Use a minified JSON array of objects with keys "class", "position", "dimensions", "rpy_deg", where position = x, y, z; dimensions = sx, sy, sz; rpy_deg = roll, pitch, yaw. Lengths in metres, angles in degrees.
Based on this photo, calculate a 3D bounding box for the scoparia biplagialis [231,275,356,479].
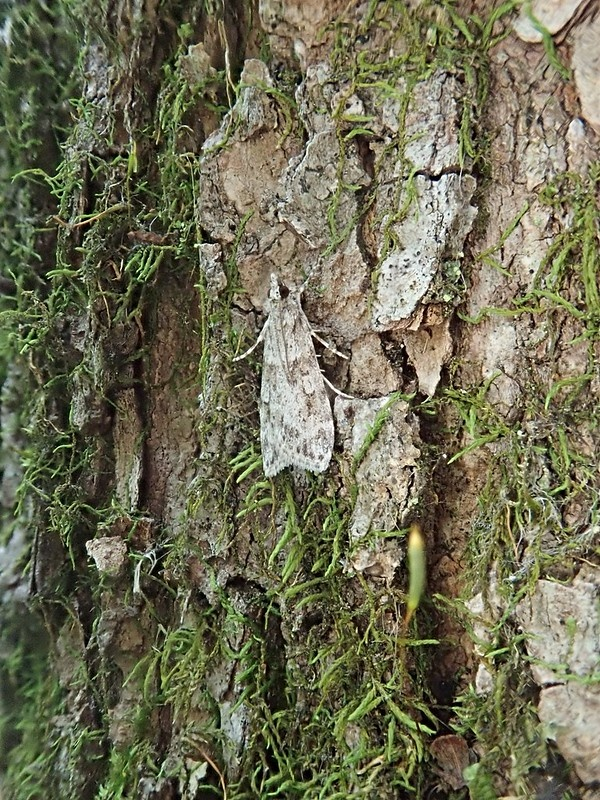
[{"class":"scoparia biplagialis","position":[-0.021,-0.030,1.133],"dimensions":[0.154,0.066,0.239],"rpy_deg":[-1,92,13]}]
